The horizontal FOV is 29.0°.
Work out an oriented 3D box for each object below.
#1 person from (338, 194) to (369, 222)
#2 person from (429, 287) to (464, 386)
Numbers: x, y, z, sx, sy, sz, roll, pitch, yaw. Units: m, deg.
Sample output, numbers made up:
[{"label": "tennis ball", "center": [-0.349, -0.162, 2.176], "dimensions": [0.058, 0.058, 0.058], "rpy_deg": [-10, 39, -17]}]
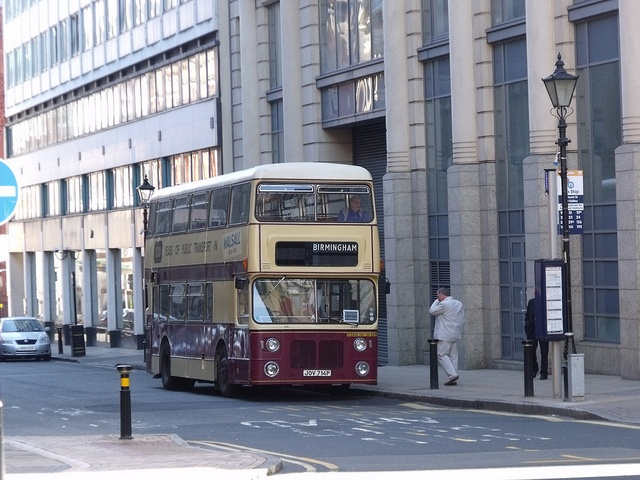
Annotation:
[{"label": "person", "center": [0.708, -0.618, 28.668], "dimensions": [0.783, 0.773, 0.453], "rpy_deg": [4, -13, -25]}, {"label": "person", "center": [3.015, 2.306, 29.681], "dimensions": [0.748, 2.416, 1.213], "rpy_deg": [-3, -7, 7]}]
